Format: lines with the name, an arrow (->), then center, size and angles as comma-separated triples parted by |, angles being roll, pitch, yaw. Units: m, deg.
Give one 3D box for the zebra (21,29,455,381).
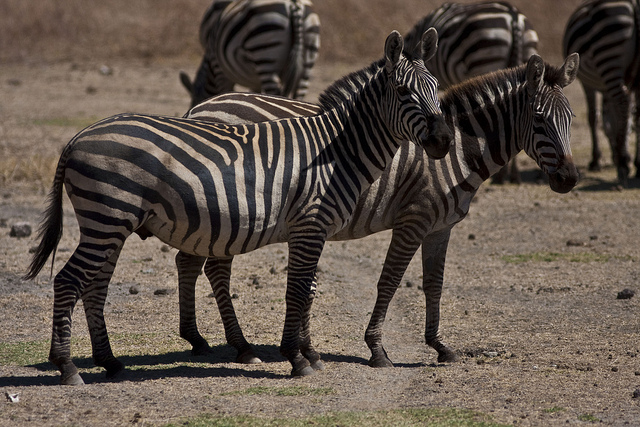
zebra -> -0.991, 0.010, 14.899 | 5.803, 4.021, 1.452 | -1, 0, -3
